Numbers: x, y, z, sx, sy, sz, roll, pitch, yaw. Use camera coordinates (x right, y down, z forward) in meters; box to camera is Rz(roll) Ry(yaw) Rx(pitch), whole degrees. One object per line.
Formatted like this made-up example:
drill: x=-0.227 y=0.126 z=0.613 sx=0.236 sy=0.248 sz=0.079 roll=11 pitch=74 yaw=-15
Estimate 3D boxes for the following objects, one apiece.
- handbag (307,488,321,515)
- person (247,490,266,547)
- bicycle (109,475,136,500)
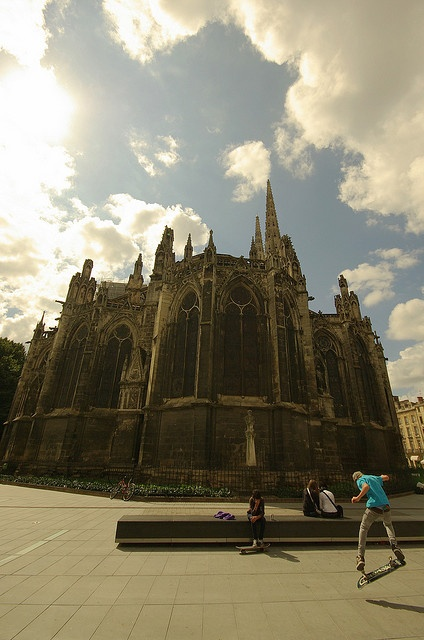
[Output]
handbag: x=2.448 y=4.299 z=6.858 sx=0.377 sy=0.491 sz=0.406 roll=4 pitch=-27 yaw=3
person: x=0.966 y=4.131 z=6.038 sx=0.370 sy=1.026 sz=0.508 roll=0 pitch=-24 yaw=6
bicycle: x=-3.903 y=7.476 z=12.744 sx=0.685 sy=0.724 sz=1.270 roll=17 pitch=-25 yaw=-33
